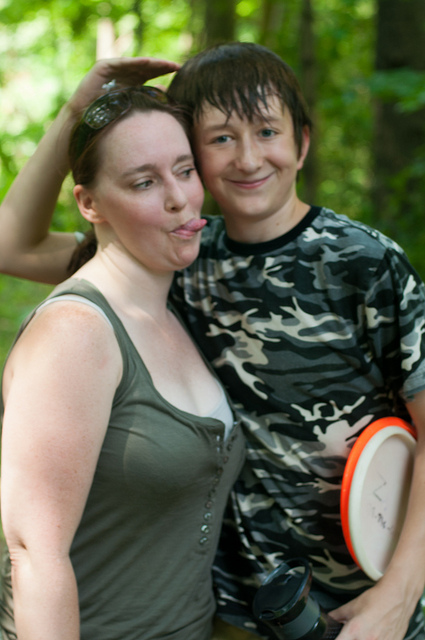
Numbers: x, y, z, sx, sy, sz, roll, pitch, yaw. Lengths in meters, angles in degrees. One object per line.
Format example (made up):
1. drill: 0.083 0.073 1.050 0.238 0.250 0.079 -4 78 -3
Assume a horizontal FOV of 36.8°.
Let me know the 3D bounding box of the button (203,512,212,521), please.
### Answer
1. button: -0.017 0.624 2.029 0.033 0.025 0.008 -2 10 -39

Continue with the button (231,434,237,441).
1. button: 0.068 0.386 2.095 0.019 0.009 0.035 20 -20 -2

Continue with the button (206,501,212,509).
1. button: -0.013 0.588 2.028 0.022 0.017 0.005 -7 18 -44

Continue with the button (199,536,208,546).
1. button: -0.033 0.700 2.027 0.024 0.028 0.023 23 37 1

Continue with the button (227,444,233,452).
1. button: 0.054 0.415 2.065 0.018 0.020 0.011 0 3 -40

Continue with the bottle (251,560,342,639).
1. bottle: 0.257 0.864 1.929 0.222 0.275 0.230 8 34 26

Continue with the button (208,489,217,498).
1. button: -0.003 0.552 2.029 0.032 0.026 0.007 3 1 -33

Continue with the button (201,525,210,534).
1. button: -0.025 0.665 2.029 0.027 0.027 0.023 -3 -18 -13

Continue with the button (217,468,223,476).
1. button: 0.021 0.481 2.021 0.008 0.020 0.024 19 16 34

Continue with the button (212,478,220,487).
1. button: 0.009 0.514 2.020 0.022 0.025 0.014 0 8 -23
